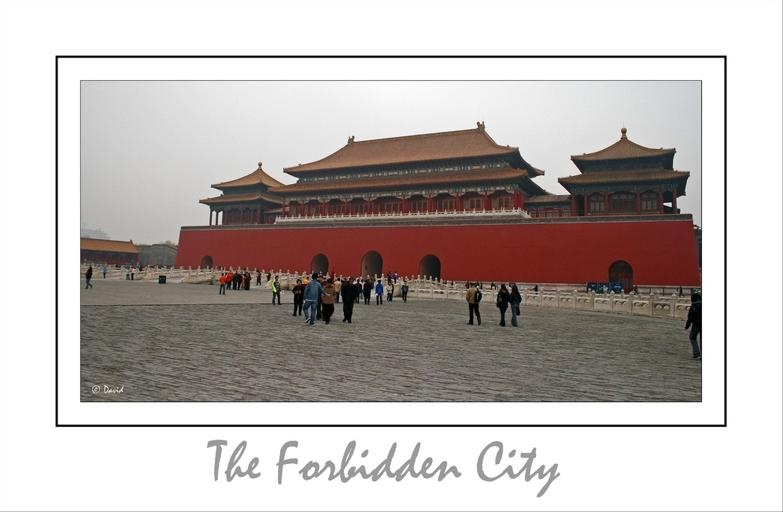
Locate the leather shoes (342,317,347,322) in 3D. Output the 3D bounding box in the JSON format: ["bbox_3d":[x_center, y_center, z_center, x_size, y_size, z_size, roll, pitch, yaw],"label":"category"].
[{"bbox_3d":[-1.248,1.728,17.492,0.127,0.120,0.077,-2,3,31],"label":"leather shoes"}]

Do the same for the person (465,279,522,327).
[{"bbox_3d":[3.280,1.528,20.516,1.237,1.090,0.590,1,5,20],"label":"person"}]

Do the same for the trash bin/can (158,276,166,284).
[{"bbox_3d":[-11.309,1.140,31.509,0.395,0.403,0.391,-1,7,0],"label":"trash bin/can"}]

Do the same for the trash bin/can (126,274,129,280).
[{"bbox_3d":[-13.882,1.075,33.650,0.193,0.250,0.264,-2,3,1],"label":"trash bin/can"}]
